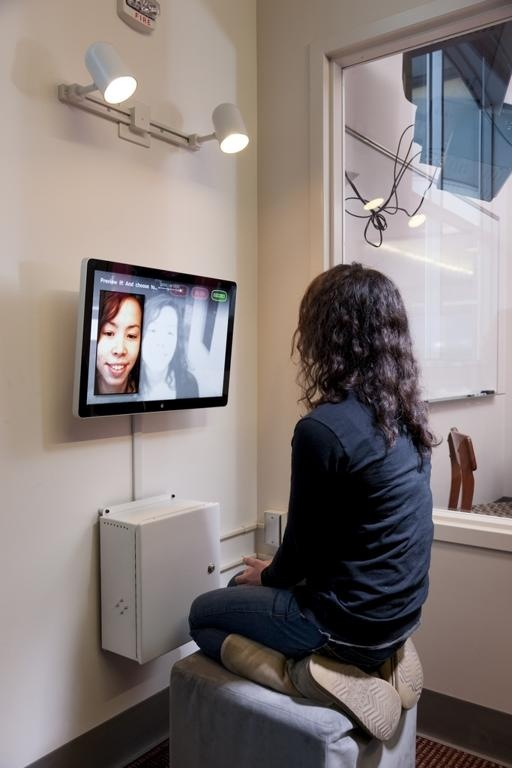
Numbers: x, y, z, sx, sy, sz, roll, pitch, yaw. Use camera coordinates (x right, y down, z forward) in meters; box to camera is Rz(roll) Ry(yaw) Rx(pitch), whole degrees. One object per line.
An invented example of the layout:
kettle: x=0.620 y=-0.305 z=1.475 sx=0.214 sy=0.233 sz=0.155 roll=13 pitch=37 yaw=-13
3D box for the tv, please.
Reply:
tv: x=-0.309 y=-0.134 z=1.808 sx=0.050 sy=0.383 sz=0.515 roll=7 pitch=2 yaw=35

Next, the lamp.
lamp: x=-0.274 y=-0.811 z=1.811 sx=0.323 sy=0.187 sz=0.620 roll=2 pitch=4 yaw=37

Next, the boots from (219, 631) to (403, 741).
boots: x=0.113 y=0.629 z=1.442 sx=0.489 sy=0.214 sz=0.172 roll=5 pitch=-7 yaw=26

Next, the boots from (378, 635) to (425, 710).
boots: x=0.355 y=0.685 z=1.456 sx=0.044 sy=0.162 sz=0.114 roll=-5 pitch=13 yaw=23
